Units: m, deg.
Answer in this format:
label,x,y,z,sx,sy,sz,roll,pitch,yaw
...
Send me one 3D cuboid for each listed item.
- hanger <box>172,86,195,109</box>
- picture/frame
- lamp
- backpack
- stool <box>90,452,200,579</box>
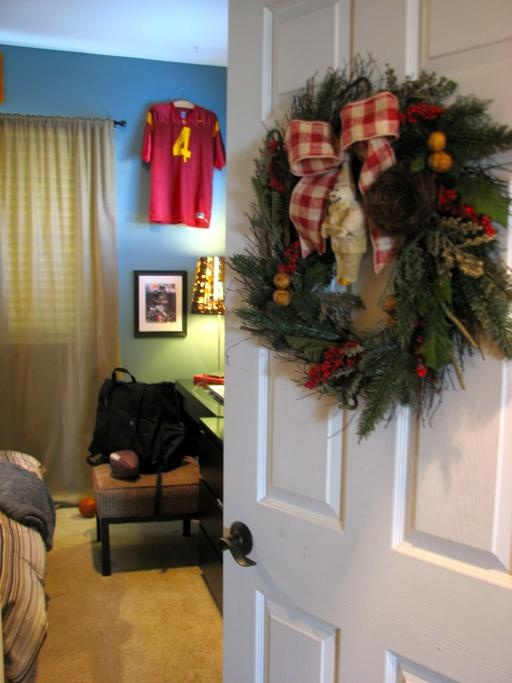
label,x,y,z,sx,sy,sz,roll,pitch,yaw
hanger,-0.436,-1.452,3.494,0.009,0.123,0.168,-2,1,43
picture/frame,-0.598,-0.248,3.563,0.402,0.543,0.036,-1,11,-8
lamp,-0.271,-0.137,3.309,0.185,0.728,0.683,2,4,-6
backpack,-0.530,0.397,2.894,0.503,0.515,0.410,1,-7,-1
stool,-0.459,0.721,2.556,0.453,0.353,0.458,0,-9,-17
